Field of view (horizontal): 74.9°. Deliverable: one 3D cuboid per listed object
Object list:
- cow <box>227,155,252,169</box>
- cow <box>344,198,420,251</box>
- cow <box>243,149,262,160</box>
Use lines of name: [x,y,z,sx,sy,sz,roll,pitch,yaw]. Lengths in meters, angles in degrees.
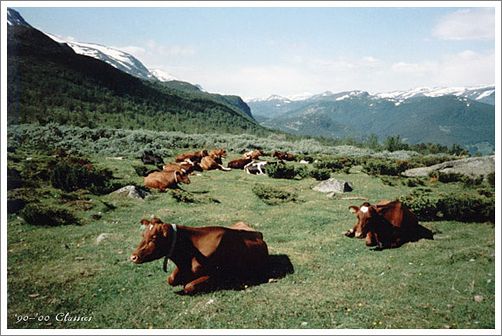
cow: [-0.866,-0.418,26.853,2.125,1.037,0.717,-5,13,-21]
cow: [6.491,2.585,15.228,4.164,2.015,1.867,0,-7,-9]
cow: [-0.224,-1.245,29.707,2.388,1.120,0.732,-4,9,-1]
